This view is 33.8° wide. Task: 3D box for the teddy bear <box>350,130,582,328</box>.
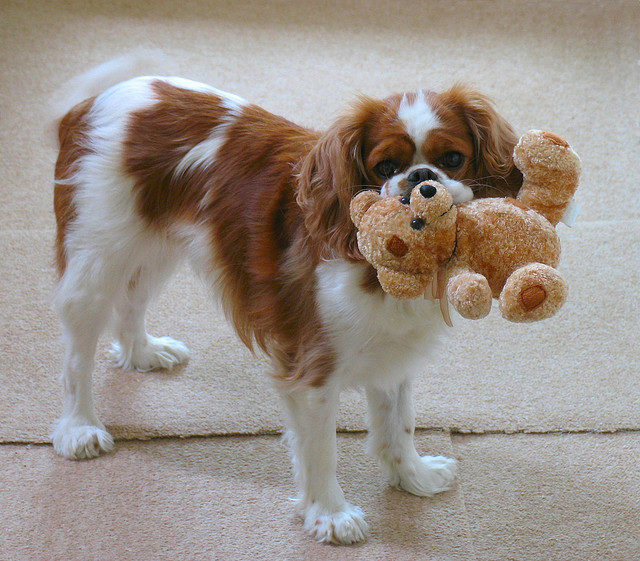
[{"bbox_3d":[0.389,-0.131,2.740,0.685,0.516,0.496,-5,94,-24],"label":"teddy bear"}]
